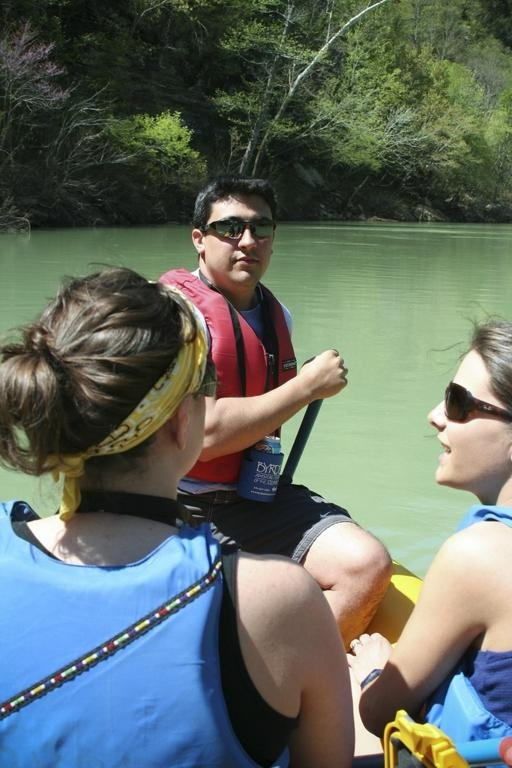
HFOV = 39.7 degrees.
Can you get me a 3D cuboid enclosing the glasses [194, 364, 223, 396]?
[{"bbox_3d":[-0.082,-0.001,1.250,0.044,0.041,0.051,-2,5,1],"label":"glasses"}]
